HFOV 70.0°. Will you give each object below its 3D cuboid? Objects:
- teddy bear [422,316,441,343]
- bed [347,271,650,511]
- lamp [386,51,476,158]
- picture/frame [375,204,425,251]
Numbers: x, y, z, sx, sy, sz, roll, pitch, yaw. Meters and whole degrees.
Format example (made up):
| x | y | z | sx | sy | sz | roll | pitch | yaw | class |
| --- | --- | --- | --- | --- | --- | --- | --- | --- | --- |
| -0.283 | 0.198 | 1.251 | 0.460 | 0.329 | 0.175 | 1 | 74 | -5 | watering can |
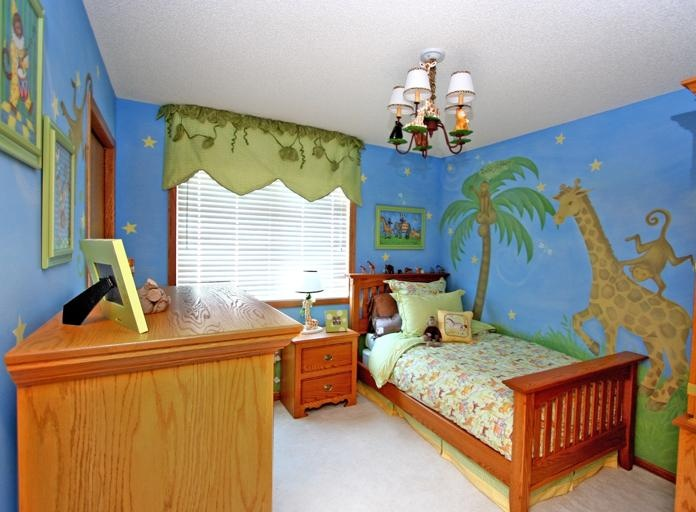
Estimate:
| x | y | z | sx | sy | sz | roll | pitch | yaw | class |
| --- | --- | --- | --- | --- | --- | --- | --- | --- | --- |
| 0.732 | 0.634 | 4.301 | 0.192 | 0.287 | 0.184 | 2 | -10 | -3 | teddy bear |
| 1.107 | 1.095 | 3.906 | 0.955 | 0.900 | 1.516 | 1 | -2 | -25 | bed |
| 0.593 | -0.970 | 3.306 | 0.623 | 0.628 | 0.635 | 0 | 6 | -18 | lamp |
| 0.556 | -0.306 | 5.183 | 0.632 | 0.445 | 0.053 | -2 | 4 | -33 | picture/frame |
